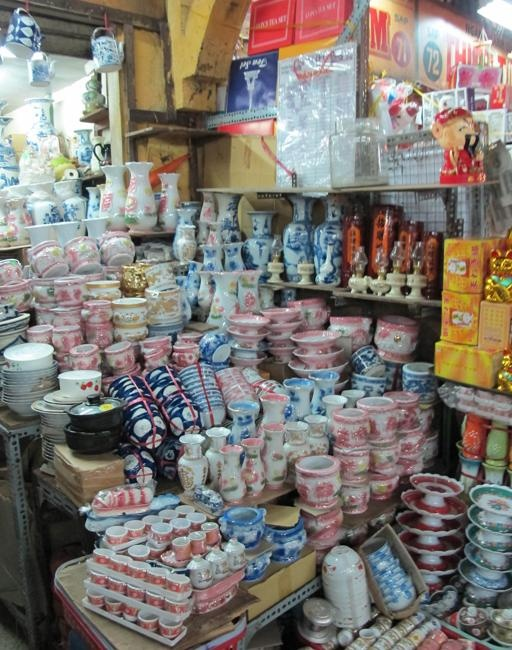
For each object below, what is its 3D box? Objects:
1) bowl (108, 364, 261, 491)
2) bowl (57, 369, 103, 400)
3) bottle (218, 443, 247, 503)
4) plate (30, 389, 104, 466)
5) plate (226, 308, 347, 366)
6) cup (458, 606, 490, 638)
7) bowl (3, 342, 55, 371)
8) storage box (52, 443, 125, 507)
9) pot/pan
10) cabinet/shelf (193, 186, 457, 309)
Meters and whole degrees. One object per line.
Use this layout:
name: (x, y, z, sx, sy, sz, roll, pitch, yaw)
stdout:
bowl: (-0.266, 0.283, 1.832, 0.429, 0.180, 0.432, 8, 22, -3)
bowl: (-0.577, 0.186, 1.706, 0.099, 0.043, 0.118, 9, 12, 35)
bottle: (-0.070, 0.426, 1.534, 0.078, 0.171, 0.139, -4, 10, -3)
plate: (-0.573, 0.345, 1.730, 0.254, 0.232, 0.225, 0, 14, -10)
plate: (0.090, 0.050, 2.361, 0.442, 0.243, 0.352, -3, 10, -4)
cup: (0.628, 0.850, 1.511, 0.067, 0.071, 0.069, -8, -2, 0)
bowl: (-0.772, 0.090, 1.795, 0.113, 0.034, 0.110, 2, 16, 0)
storage box: (-0.480, 0.461, 1.519, 0.138, 0.096, 0.204, -7, 10, -30)
pot/pan: (-0.471, 0.291, 1.594, 0.170, 0.140, 0.204, -11, 15, -35)
cabinet/shelf: (0.397, -0.388, 2.472, 0.389, 0.601, 1.361, -11, 13, -36)
